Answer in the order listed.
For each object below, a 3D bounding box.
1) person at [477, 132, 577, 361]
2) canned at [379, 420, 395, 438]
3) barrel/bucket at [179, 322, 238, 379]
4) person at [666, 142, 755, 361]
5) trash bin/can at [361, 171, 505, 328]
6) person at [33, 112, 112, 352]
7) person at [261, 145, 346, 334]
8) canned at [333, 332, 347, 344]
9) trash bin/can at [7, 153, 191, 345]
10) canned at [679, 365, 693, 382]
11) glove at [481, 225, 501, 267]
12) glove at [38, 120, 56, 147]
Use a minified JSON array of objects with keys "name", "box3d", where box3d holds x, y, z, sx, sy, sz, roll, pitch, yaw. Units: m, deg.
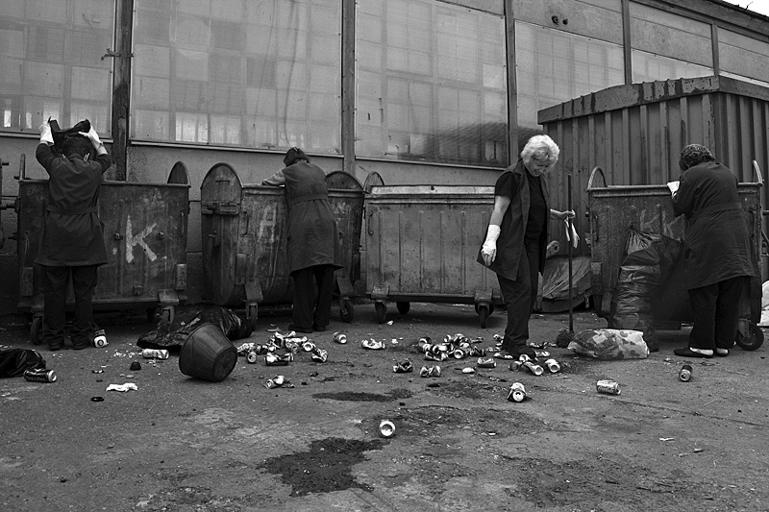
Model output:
[{"name":"person","box3d":[1.430,-0.095,7.030,0.792,2.321,0.523,-1,9,-7]},{"name":"canned","box3d":[0.020,1.289,5.028,0.133,0.100,0.209,0,10,0]},{"name":"barrel/bucket","box3d":[-1.657,0.905,6.230,0.467,0.508,0.305,2,10,12]},{"name":"person","box3d":[3.594,-0.052,7.277,0.822,2.280,0.746,5,11,30]},{"name":"trash bin/can","box3d":[0.906,-0.086,9.647,2.049,2.124,1.376,0,1,26]},{"name":"person","box3d":[-3.561,-0.261,7.559,0.685,2.534,0.882,6,11,31]},{"name":"person","box3d":[-1.025,-0.218,8.630,0.730,2.297,0.777,-8,12,-39]},{"name":"canned","box3d":[-0.517,0.993,7.866,0.116,0.112,0.135,17,6,-25]},{"name":"trash bin/can","box3d":[-3.608,-0.037,8.352,1.996,2.058,1.219,0,-3,-39]},{"name":"canned","box3d":[2.888,1.127,6.338,0.067,0.068,0.097,23,25,10]},{"name":"glove","box3d":[1.125,-0.111,7.025,0.209,0.458,0.151,2,9,9]},{"name":"glove","box3d":[-3.830,-1.368,7.500,0.103,0.300,0.232,-1,6,-33]}]
